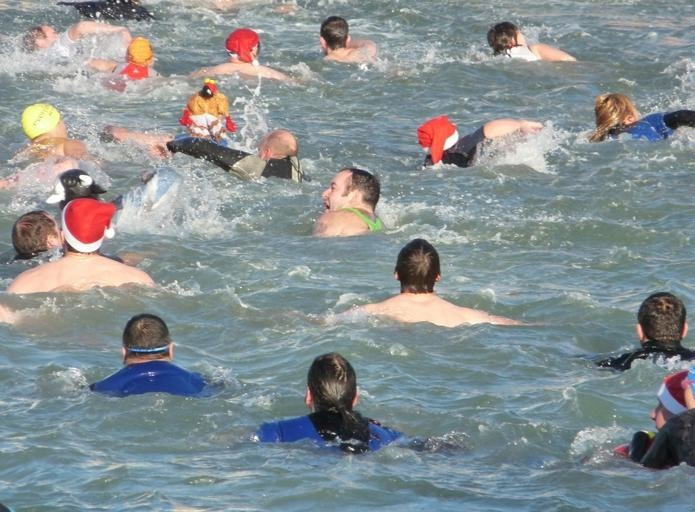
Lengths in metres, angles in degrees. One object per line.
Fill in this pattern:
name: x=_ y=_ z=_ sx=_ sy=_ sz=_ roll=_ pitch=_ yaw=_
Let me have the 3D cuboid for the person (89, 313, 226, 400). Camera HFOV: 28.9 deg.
person: x=-2.101 y=1.070 z=14.522 sx=1.299 sy=0.889 sz=0.320 roll=1 pitch=-11 yaw=-8

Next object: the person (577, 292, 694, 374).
person: x=3.440 y=0.854 z=15.358 sx=0.979 sy=0.912 sz=0.361 roll=-2 pitch=-11 yaw=8

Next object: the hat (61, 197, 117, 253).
hat: x=-3.198 y=-0.368 z=16.580 sx=0.602 sy=0.678 sz=0.235 roll=2 pitch=-11 yaw=-12

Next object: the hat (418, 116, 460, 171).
hat: x=1.436 y=-1.794 z=21.061 sx=0.704 sy=0.780 sz=0.388 roll=-19 pitch=-44 yaw=-6
